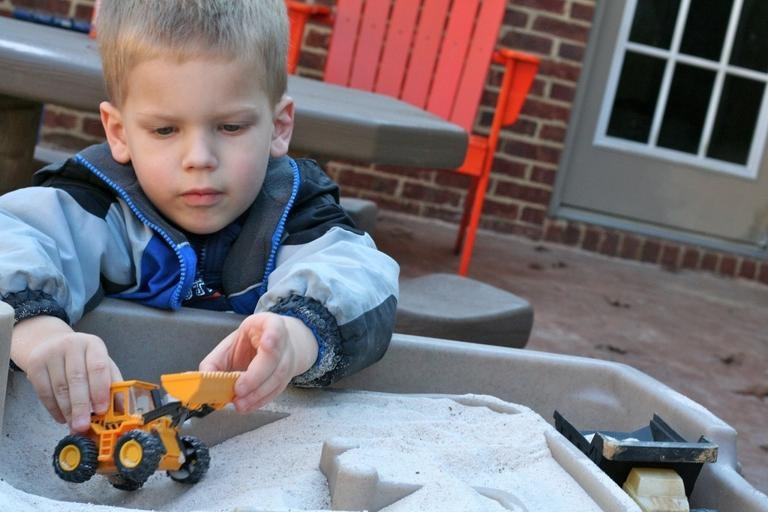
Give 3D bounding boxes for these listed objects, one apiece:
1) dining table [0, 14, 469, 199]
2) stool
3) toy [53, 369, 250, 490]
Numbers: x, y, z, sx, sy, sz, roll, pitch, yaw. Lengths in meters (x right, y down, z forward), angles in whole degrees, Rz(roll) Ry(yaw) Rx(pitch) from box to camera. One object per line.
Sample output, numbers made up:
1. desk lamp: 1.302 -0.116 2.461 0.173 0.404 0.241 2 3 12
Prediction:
1. dining table: -0.339 -0.389 2.241 0.750 0.264 0.497 22 6 -4
2. stool: 0.202 0.129 2.415 0.342 0.118 0.355 13 12 1
3. toy: -0.397 0.286 1.613 0.293 0.207 0.194 -1 -1 20
